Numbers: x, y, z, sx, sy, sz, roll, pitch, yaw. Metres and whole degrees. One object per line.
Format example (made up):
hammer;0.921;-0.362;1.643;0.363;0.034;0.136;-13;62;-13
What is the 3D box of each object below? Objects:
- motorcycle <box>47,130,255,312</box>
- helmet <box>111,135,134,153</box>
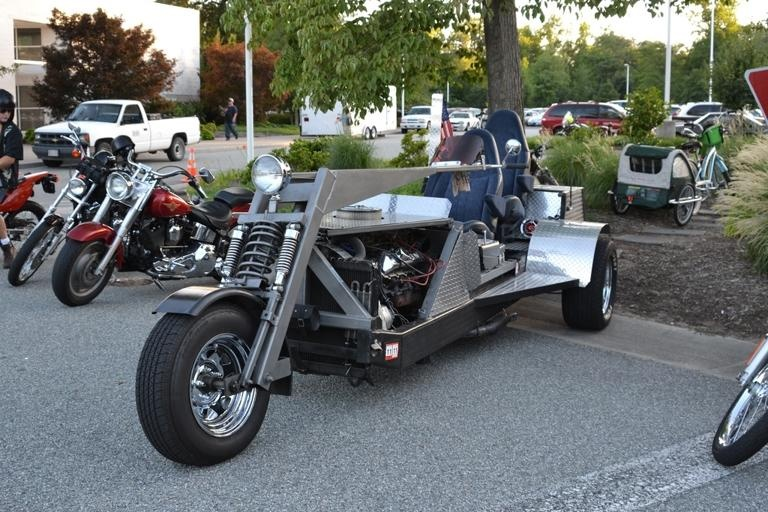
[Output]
motorcycle;-3.258;-0.450;8.306;1.536;1.913;3.007;14;15;42
helmet;-3.552;-1.566;8.125;0.262;0.173;0.277;-12;6;3
